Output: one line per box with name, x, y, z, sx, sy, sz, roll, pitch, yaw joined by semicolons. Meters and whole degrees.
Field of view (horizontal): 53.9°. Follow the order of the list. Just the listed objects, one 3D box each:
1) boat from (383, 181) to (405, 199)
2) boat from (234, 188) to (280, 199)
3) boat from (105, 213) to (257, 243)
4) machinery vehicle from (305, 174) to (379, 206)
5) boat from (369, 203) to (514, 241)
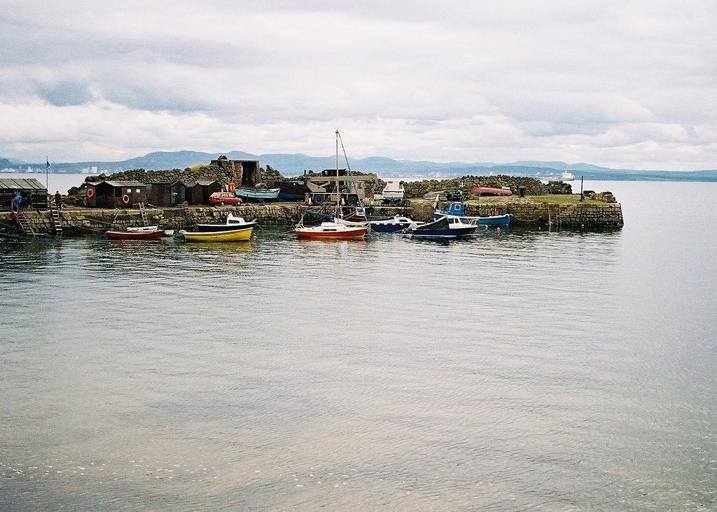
boat;3.484;-6.634;71.186;2.047;1.888;1.793;-1;5;3
boat;-10.193;-6.346;72.071;1.759;1.233;5.609;2;5;36
boat;-13.288;-1.266;53.967;11.587;2.205;8.405;-4;12;-8
machinery vehicle;-1.950;-6.496;69.652;9.842;2.385;6.015;-7;14;-30
boat;7.360;-2.954;62.891;14.972;2.605;3.990;-1;9;-9
